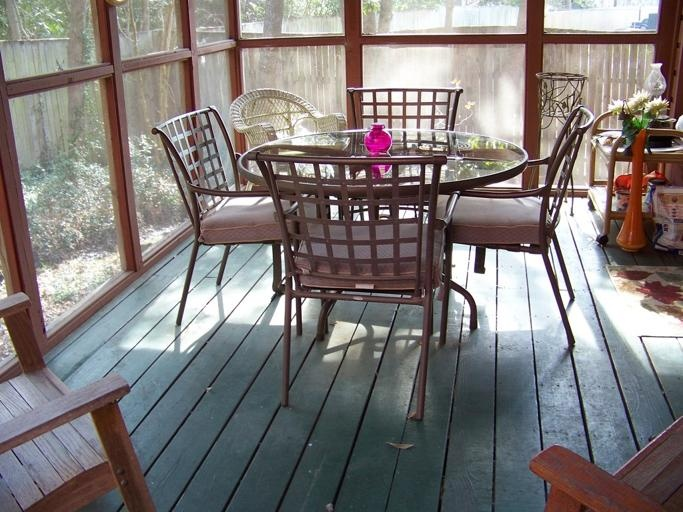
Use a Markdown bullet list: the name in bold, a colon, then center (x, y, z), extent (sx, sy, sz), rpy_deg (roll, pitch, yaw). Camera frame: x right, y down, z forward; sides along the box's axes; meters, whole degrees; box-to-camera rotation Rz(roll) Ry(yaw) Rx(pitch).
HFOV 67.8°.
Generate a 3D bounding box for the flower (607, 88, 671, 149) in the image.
- **flower**: center (2.026, -0.912, 3.485), extent (0.292, 0.363, 0.318), rpy_deg (5, 22, 15)
